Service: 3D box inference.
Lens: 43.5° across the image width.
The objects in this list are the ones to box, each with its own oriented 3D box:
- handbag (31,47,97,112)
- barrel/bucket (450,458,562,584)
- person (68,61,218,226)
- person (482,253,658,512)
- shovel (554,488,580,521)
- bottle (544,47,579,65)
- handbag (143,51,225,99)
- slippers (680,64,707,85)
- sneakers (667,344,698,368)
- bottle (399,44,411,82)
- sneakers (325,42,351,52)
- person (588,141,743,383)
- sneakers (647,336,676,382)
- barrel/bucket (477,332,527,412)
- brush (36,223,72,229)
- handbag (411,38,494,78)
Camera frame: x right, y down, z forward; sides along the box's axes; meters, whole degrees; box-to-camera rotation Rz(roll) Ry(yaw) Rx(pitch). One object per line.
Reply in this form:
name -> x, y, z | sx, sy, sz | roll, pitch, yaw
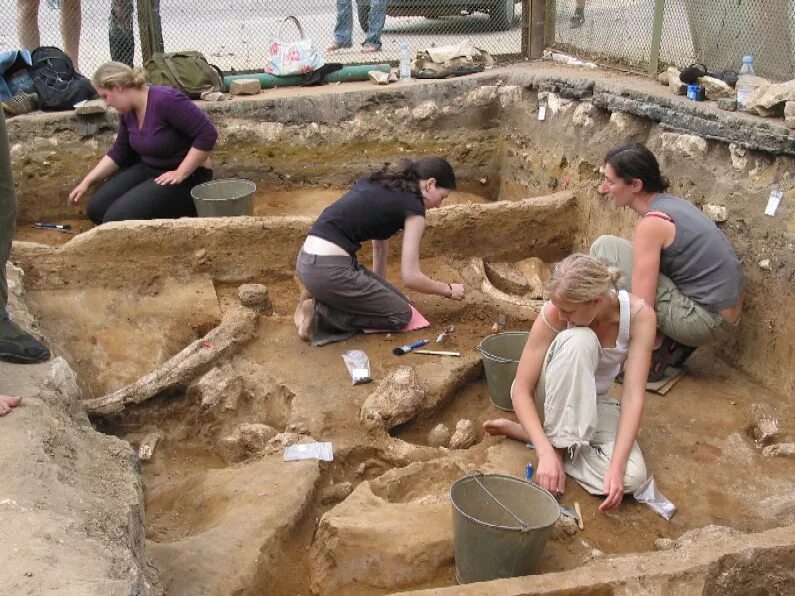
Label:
handbag -> -2.555, -1.643, 7.509 | 0.455, 0.259, 0.596 | -5, 52, -25
barrel/bucket -> 0.464, 1.011, 4.458 | 0.445, 0.352, 0.470 | 4, 20, -1
person -> -1.736, -0.825, 6.862 | 1.012, 1.581, 0.723 | -7, 20, -13
person -> 0.846, 0.321, 4.877 | 0.805, 1.176, 0.839 | 1, 20, 4
shovel -> 0.804, 0.978, 4.736 | 0.073, 0.039, 0.152 | -4, 30, -10
bottle -> 1.362, -2.011, 8.309 | 0.160, 0.150, 0.588 | -4, 12, -5
handbag -> -1.647, -1.758, 7.755 | 0.408, 0.252, 0.512 | -12, 30, -28
slippers -> 1.942, -1.464, 6.523 | 0.167, 0.121, 0.317 | 1, 13, 17
sneakers -> 1.606, 0.314, 5.626 | 0.130, 0.141, 0.126 | 6, 43, 11
bottle -> 0.067, -1.954, 8.336 | 0.101, 0.273, 0.233 | -3, 12, 1
sneakers -> -0.521, -2.180, 8.676 | 0.225, 0.094, 0.077 | -12, 7, -24
person -> 1.436, -0.175, 5.642 | 0.983, 1.360, 0.569 | 2, 17, 23
sneakers -> 1.484, 0.341, 5.587 | 0.136, 0.342, 0.110 | 6, 8, 2
barrel/bucket -> 0.554, 0.386, 5.444 | 0.370, 0.301, 0.334 | -8, 27, -12
brush -> -2.501, -0.523, 7.234 | 0.208, 0.039, 0.049 | 3, 3, -3
handbag -> 0.465, -1.978, 8.312 | 0.522, 0.202, 0.375 | -18, 27, -24
